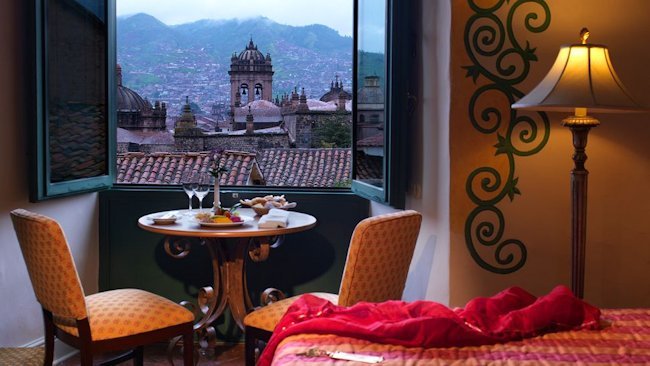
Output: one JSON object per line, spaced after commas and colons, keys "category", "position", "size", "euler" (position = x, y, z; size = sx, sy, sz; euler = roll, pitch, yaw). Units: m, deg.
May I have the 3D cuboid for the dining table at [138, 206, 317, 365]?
{"category": "dining table", "position": [-0.819, 0.827, 4.710], "size": [1.329, 0.890, 1.271], "euler": [-4, -6, 4]}

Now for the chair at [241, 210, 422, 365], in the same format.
{"category": "chair", "position": [0.200, 0.700, 4.641], "size": [1.320, 1.442, 1.106], "euler": [5, 2, 32]}

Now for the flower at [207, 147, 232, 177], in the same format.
{"category": "flower", "position": [-1.179, -0.227, 6.667], "size": [0.121, 0.294, 0.086], "euler": [14, 15, -27]}
